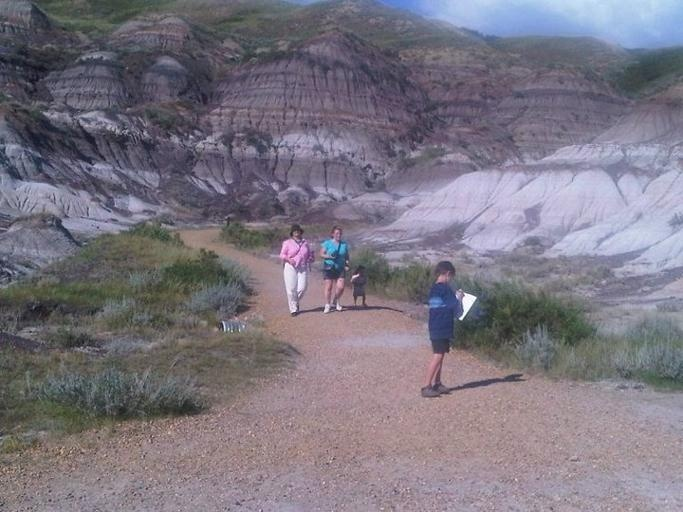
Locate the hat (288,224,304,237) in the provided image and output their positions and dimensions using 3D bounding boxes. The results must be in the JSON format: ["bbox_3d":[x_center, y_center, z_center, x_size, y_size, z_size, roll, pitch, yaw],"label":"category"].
[{"bbox_3d":[-2.556,-1.449,49.211,0.761,0.501,0.939,-1,-10,-4],"label":"hat"}]
